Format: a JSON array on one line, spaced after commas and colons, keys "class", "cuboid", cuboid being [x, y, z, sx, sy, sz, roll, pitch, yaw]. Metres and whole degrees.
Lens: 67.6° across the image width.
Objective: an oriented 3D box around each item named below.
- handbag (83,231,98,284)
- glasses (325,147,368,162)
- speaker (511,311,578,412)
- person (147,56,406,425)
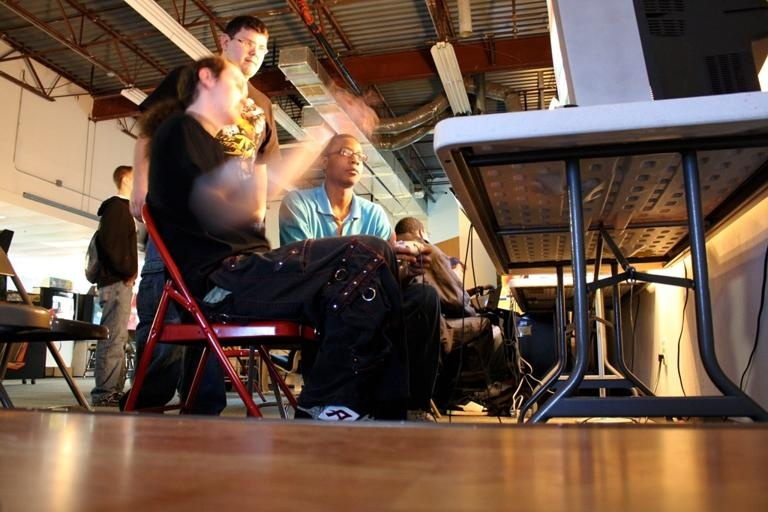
[{"class": "handbag", "cuboid": [-1.694, 0.049, 3.327, 0.072, 0.261, 0.181, 7, 22, -21]}, {"class": "glasses", "cuboid": [-0.154, -0.395, 2.228, 0.082, 0.024, 0.082, -1, -7, 24]}, {"class": "speaker", "cuboid": [0.981, 0.650, 3.698, 0.456, 0.617, 0.372, -22, -5, 19]}, {"class": "person", "cuboid": [-0.291, 0.120, 1.984, 0.889, 1.455, 0.631, -3, -12, -1]}]
